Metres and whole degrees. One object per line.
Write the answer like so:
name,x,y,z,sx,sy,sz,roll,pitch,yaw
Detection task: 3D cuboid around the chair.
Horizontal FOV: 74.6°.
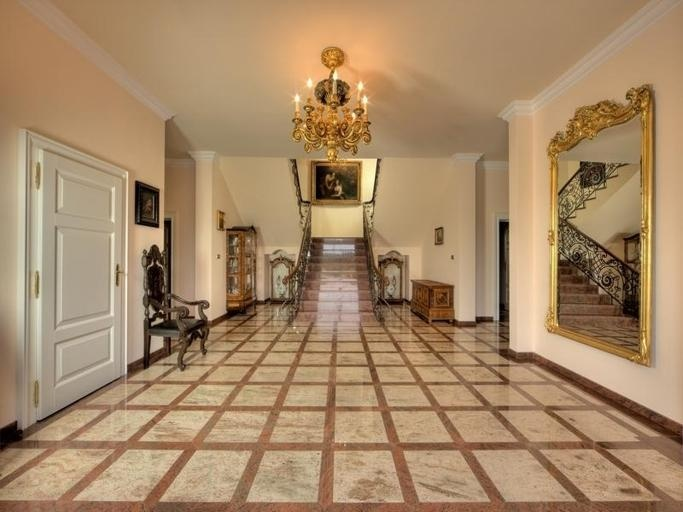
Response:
chair,-2.264,0.697,6.118,0.756,1.631,1.264,0,14,-1

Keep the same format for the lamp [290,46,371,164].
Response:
lamp,-0.109,-1.747,5.226,0.778,1.330,0.814,0,-1,17
